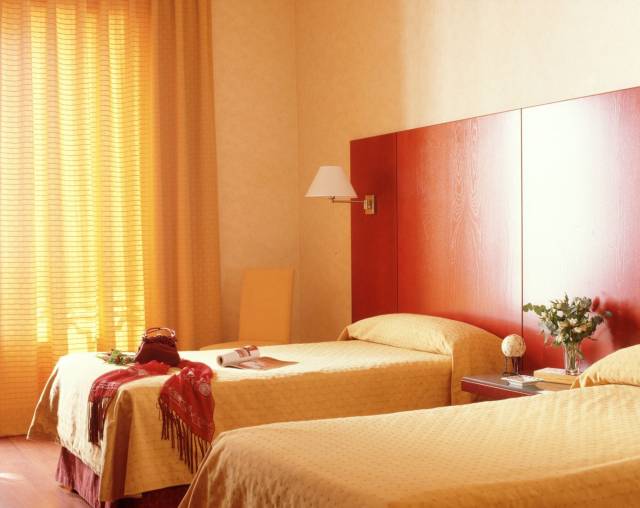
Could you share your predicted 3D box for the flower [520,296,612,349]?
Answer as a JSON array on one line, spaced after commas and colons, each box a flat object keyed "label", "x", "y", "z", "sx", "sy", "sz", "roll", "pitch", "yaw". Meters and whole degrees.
[{"label": "flower", "x": 1.249, "y": 0.361, "z": 2.802, "sx": 0.332, "sy": 0.208, "sz": 0.255, "roll": 6, "pitch": -10, "yaw": 35}]

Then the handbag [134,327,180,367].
[{"label": "handbag", "x": -0.915, "y": 0.532, "z": 3.049, "sx": 0.242, "sy": 0.245, "sz": 0.131, "roll": 2, "pitch": -8, "yaw": -12}]

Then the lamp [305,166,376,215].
[{"label": "lamp", "x": 0.175, "y": -0.500, "z": 4.278, "sx": 0.515, "sy": 0.337, "sz": 0.366, "roll": 1, "pitch": -2, "yaw": -42}]
